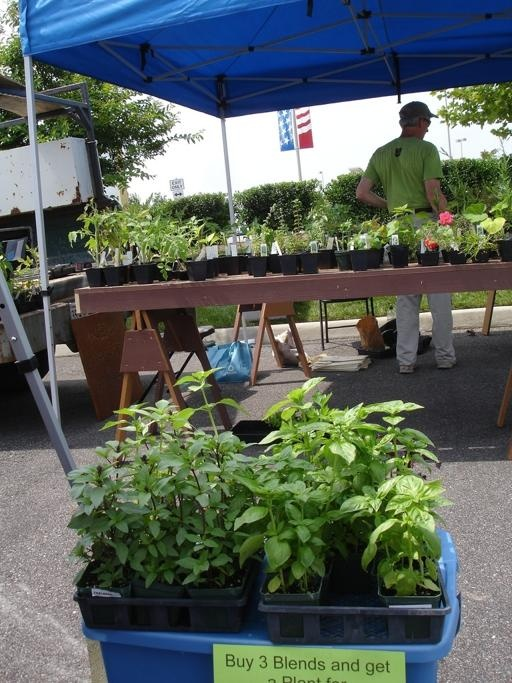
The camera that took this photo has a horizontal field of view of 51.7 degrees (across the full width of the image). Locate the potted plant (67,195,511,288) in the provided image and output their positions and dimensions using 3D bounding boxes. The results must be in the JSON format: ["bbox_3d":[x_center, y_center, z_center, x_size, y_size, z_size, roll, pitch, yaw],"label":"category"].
[{"bbox_3d":[0.143,-0.636,3.293,2.440,0.527,0.839,-3,14,10],"label":"potted plant"}]

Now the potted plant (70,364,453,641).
[{"bbox_3d":[0.014,0.336,1.104,0.615,0.435,0.730,0,2,5],"label":"potted plant"}]

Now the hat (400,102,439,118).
[{"bbox_3d":[1.328,-1.870,4.294,0.278,0.140,0.189,-5,14,7],"label":"hat"}]

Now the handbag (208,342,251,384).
[{"bbox_3d":[-0.231,0.215,4.947,0.390,0.264,0.172,1,9,22],"label":"handbag"}]
